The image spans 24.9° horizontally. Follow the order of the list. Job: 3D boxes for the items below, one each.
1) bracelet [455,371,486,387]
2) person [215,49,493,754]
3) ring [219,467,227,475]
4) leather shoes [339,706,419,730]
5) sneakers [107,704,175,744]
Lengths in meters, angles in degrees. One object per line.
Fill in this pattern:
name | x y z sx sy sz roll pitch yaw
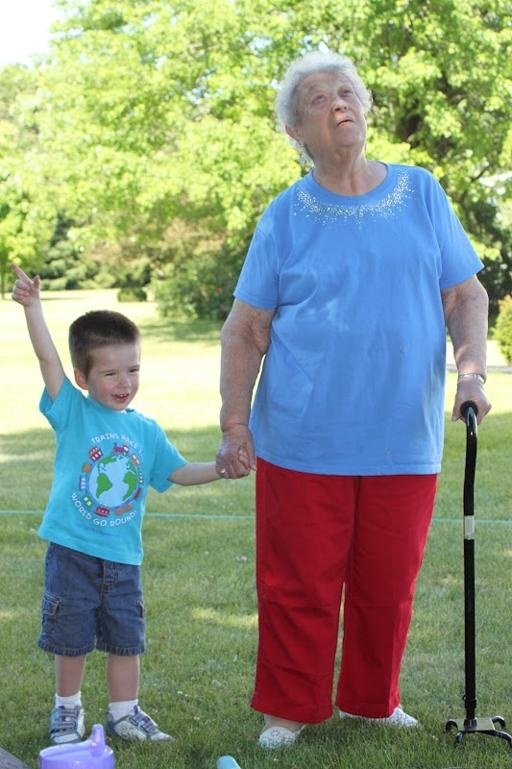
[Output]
bracelet | 0.577 -0.018 3.136 0.073 0.033 0.109 -1 2 9
person | 0.259 0.029 3.175 0.733 1.916 0.293 -1 2 8
ring | -0.095 0.234 3.187 0.013 0.018 0.005 13 26 36
leather shoes | 0.349 0.932 3.324 0.215 0.087 0.072 -2 2 11
sneakers | -0.337 0.960 3.309 0.222 0.097 0.075 6 -2 3
